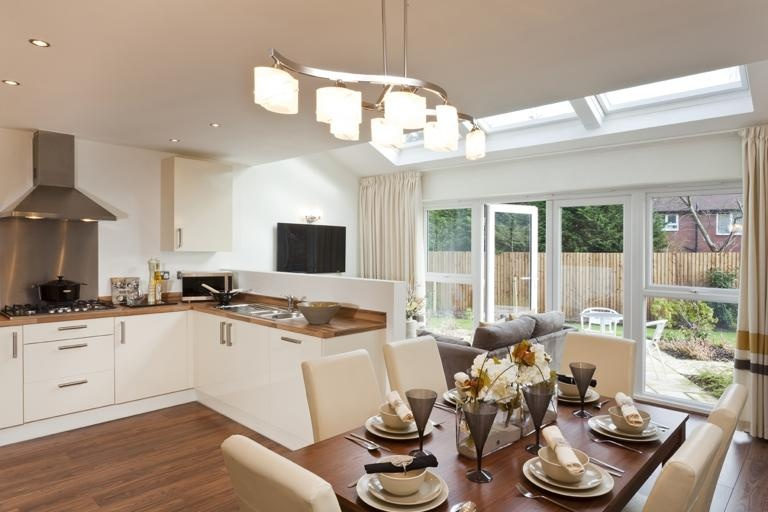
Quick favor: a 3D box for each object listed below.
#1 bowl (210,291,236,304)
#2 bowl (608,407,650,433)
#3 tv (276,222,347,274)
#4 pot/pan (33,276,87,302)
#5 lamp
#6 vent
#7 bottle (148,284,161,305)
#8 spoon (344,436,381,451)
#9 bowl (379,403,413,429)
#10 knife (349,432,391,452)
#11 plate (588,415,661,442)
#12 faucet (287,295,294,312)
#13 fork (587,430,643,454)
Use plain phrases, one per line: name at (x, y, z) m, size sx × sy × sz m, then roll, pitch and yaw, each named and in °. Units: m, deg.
bowl at (-1.751, 0.452, 5.479) m, size 0.234 × 0.090 × 0.159 m, roll 0°, pitch 0°, yaw 31°
bowl at (1.472, 0.984, 2.971) m, size 0.165 × 0.081 × 0.156 m, roll -2°, pitch 1°, yaw 0°
tv at (-1.067, -0.105, 7.510) m, size 0.088 × 0.745 × 1.421 m, roll 2°, pitch 2°, yaw 40°
pot/pan at (-3.269, 0.357, 5.018) m, size 0.425 × 0.198 × 0.280 m, roll 1°, pitch -2°, yaw -43°
lamp at (0.037, -1.127, 3.166) m, size 1.212 × 0.948 × 1.224 m, roll 4°, pitch 14°, yaw 14°
vent at (-3.274, -0.732, 5.005) m, size 1.029 × 0.827 × 0.927 m, roll 0°, pitch 0°, yaw -36°
bottle at (-2.534, 0.407, 5.485) m, size 0.129 × 0.218 × 0.138 m, roll 1°, pitch 14°, yaw 0°
spoon at (-0.113, 1.072, 2.868) m, size 0.062 × 0.027 × 0.201 m, roll -12°, pitch 10°, yaw -43°
bowl at (0.072, 0.943, 2.945) m, size 0.151 × 0.066 × 0.143 m, roll 0°, pitch -2°, yaw 0°
knife at (-0.087, 1.070, 2.889) m, size 0.289 × 0.037 × 0.077 m, roll 7°, pitch 10°, yaw 37°
plate at (1.399, 1.042, 2.952) m, size 0.199 × 0.032 × 0.193 m, roll 0°, pitch 2°, yaw -29°
faucet at (-0.976, 0.486, 5.197) m, size 0.061 × 0.179 × 0.220 m, roll -2°, pitch 13°, yaw -10°
fork at (1.347, 1.082, 2.878) m, size 0.050 × 0.036 × 0.284 m, roll -16°, pitch 19°, yaw -40°
